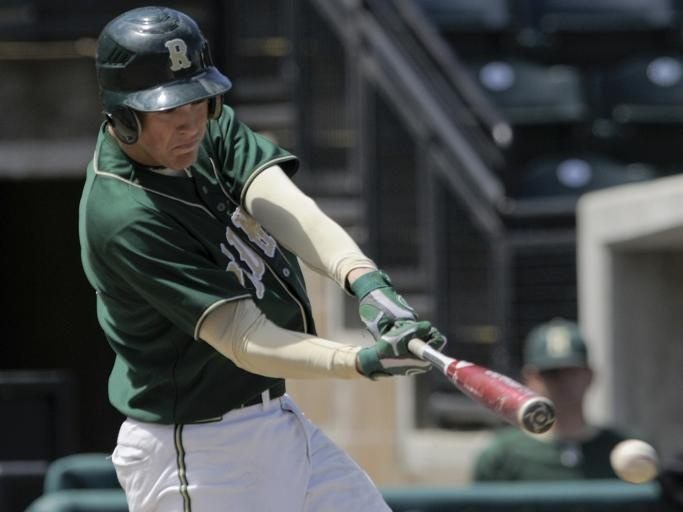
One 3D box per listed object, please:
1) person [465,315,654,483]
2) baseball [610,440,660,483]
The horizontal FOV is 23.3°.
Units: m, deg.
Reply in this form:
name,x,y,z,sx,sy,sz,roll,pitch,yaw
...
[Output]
name,x,y,z,sx,sy,sz,roll,pitch,yaw
person,0.997,0.745,8.038,0.566,0.806,0.473,-3,12,-11
baseball,1.381,0.952,7.729,0.232,0.173,0.231,1,6,39
